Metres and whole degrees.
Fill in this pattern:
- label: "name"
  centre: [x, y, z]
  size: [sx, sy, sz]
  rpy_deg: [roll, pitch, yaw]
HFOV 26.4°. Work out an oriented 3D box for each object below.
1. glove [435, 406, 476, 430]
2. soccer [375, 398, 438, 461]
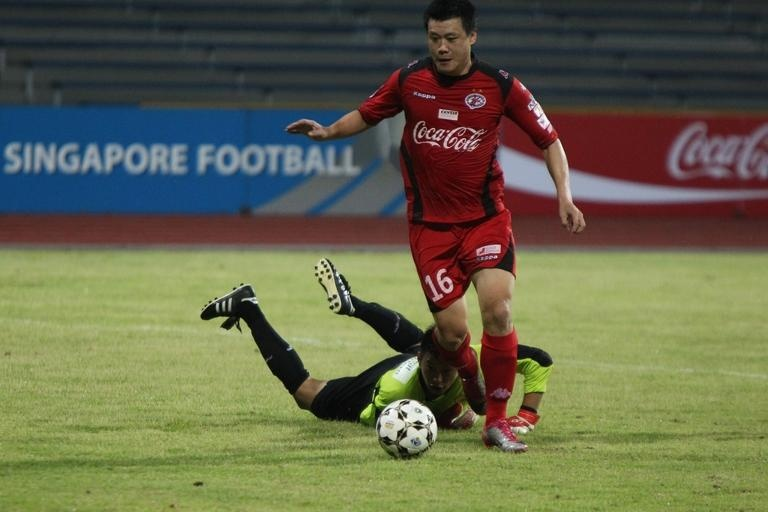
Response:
- label: "glove"
  centre: [0.992, 2.179, 21.974]
  size: [0.668, 0.267, 0.225]
  rpy_deg: [3, -3, -5]
- label: "soccer"
  centre: [0.286, 2.277, 21.480]
  size: [0.756, 0.709, 0.777]
  rpy_deg: [-10, -20, 26]
